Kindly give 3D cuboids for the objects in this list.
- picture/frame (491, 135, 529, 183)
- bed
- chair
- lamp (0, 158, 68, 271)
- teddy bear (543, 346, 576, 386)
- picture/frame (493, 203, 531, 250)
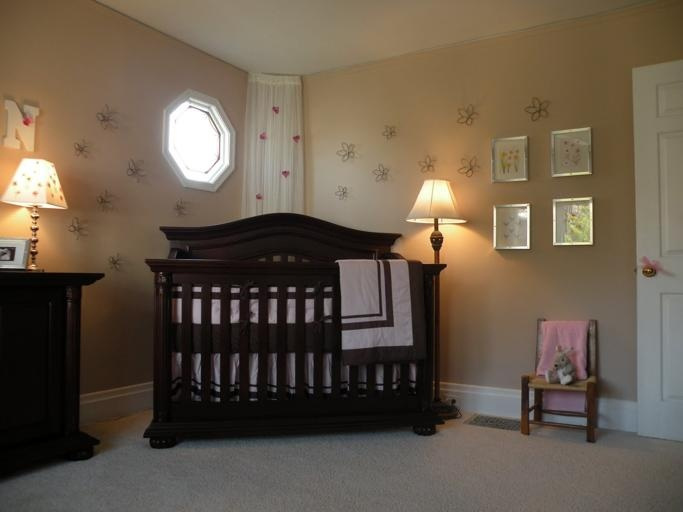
[{"bbox_3d":[1.258,-0.723,4.043,0.317,0.476,0.048,1,1,30],"label":"picture/frame"},{"bbox_3d":[-0.381,0.620,4.051,2.207,1.954,1.371,0,-5,-11],"label":"bed"},{"bbox_3d":[1.482,0.827,3.693,0.468,0.741,0.505,4,8,28],"label":"chair"},{"bbox_3d":[-1.924,-0.284,3.484,0.351,0.695,0.418,6,9,41],"label":"lamp"},{"bbox_3d":[1.457,0.720,3.638,0.207,0.317,0.222,5,-6,-24],"label":"teddy bear"},{"bbox_3d":[1.266,-0.220,4.020,0.304,0.436,0.043,0,0,32],"label":"picture/frame"}]
